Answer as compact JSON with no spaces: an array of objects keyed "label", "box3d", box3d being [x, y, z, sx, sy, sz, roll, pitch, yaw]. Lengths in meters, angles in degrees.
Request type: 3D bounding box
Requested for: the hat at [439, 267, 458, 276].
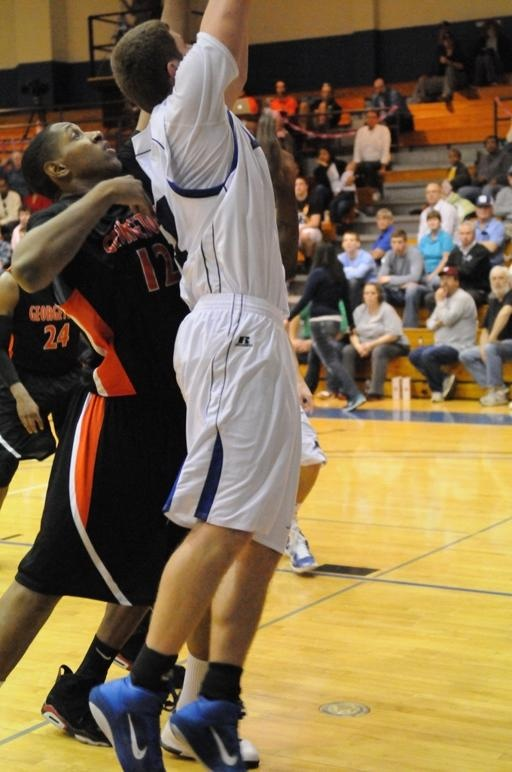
[{"label":"hat","box3d":[2.569,-1.513,8.957,0.174,0.148,0.219,0,0,26]}]
